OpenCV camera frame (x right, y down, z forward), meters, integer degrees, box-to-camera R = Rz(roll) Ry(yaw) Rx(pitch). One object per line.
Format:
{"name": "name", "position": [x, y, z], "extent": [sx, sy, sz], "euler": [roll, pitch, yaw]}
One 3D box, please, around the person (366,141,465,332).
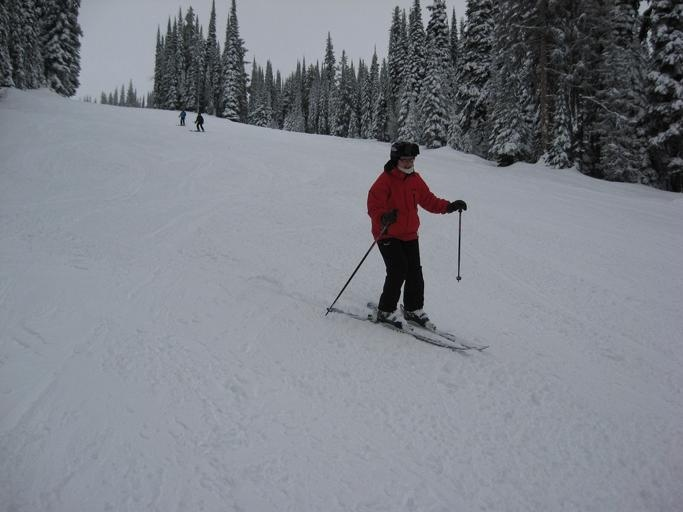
{"name": "person", "position": [1.054, -0.402, 8.647], "extent": [1.301, 2.901, 0.891], "euler": [3, 15, -9]}

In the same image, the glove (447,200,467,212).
{"name": "glove", "position": [1.932, -0.867, 8.708], "extent": [0.186, 0.146, 0.312], "euler": [-6, 11, -26]}

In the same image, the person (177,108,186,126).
{"name": "person", "position": [-8.745, -7.612, 28.581], "extent": [0.218, 0.755, 1.532], "euler": [2, 19, -12]}

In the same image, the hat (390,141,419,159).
{"name": "hat", "position": [1.015, -1.717, 8.380], "extent": [0.351, 0.218, 0.264], "euler": [10, 18, 43]}
